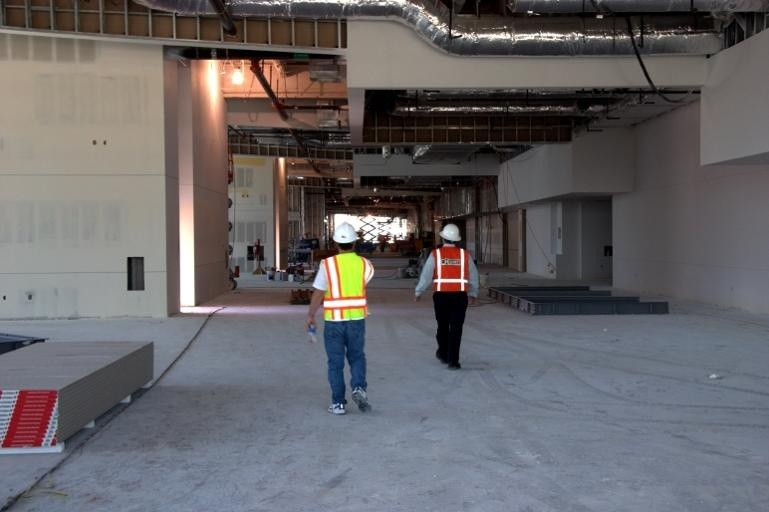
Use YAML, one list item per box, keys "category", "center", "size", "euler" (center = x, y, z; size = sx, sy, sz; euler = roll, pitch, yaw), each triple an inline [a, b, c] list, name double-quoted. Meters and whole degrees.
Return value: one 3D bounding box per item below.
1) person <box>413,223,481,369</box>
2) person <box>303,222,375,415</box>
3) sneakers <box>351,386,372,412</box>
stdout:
- category: "person"
  center: [1.106, 0.634, 12.695]
  size: [1.042, 2.508, 1.589]
  euler: [0, 12, 5]
- category: "person"
  center: [-0.628, 0.900, 10.538]
  size: [0.948, 2.642, 0.850]
  euler: [-6, 12, -21]
- category: "sneakers"
  center: [-0.336, 2.073, 10.558]
  size: [0.176, 0.438, 0.261]
  euler: [-19, 0, 2]
